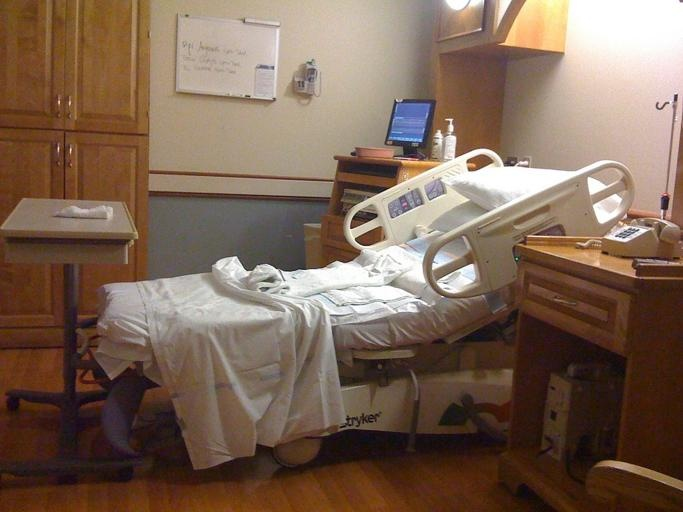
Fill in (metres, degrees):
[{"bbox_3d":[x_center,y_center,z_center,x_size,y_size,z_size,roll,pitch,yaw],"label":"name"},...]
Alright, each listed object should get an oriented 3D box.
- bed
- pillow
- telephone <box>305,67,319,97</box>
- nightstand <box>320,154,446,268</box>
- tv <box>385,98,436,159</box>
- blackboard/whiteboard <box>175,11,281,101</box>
[{"bbox_3d":[0.092,0.197,2.700,2.300,1.100,1.427,-5,15,-16],"label":"bed"},{"bbox_3d":[0.945,-0.292,2.761,0.733,0.412,1.022,-1,9,-31],"label":"pillow"},{"bbox_3d":[-0.214,-1.300,4.007,0.048,0.214,0.126,12,17,36],"label":"telephone"},{"bbox_3d":[0.292,-0.396,3.658,0.589,0.816,0.666,-6,13,-34],"label":"nightstand"},{"bbox_3d":[0.479,-0.933,3.840,0.185,0.445,0.394,-4,15,-36],"label":"tv"},{"bbox_3d":[-0.809,-1.406,3.819,0.717,0.540,0.042,-1,14,-17],"label":"blackboard/whiteboard"}]
